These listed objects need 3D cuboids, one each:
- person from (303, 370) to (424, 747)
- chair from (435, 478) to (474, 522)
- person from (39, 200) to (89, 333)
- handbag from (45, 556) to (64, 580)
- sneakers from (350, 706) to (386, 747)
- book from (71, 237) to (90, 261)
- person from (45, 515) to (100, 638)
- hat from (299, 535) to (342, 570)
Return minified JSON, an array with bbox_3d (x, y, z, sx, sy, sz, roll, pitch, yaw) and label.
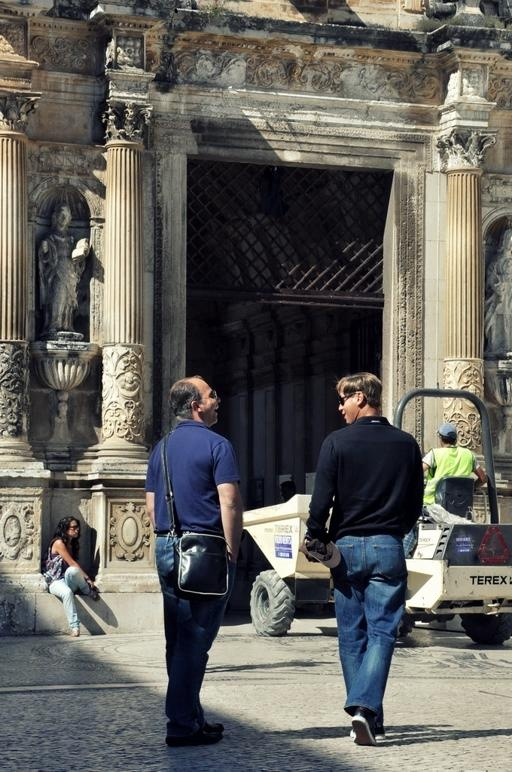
[{"bbox_3d":[0.591,0.974,10.661,0.551,2.096,0.605,0,-1,34],"label":"person"},{"bbox_3d":[1.662,0.943,15.590,0.332,0.359,0.294,1,-1,1],"label":"chair"},{"bbox_3d":[-1.968,-1.189,18.856,0.536,1.405,0.442,1,-1,-18],"label":"person"},{"bbox_3d":[-1.923,1.732,17.508,0.191,0.255,0.178,1,-1,1],"label":"handbag"},{"bbox_3d":[0.616,1.924,10.387,0.103,0.138,0.294,2,-31,18],"label":"sneakers"},{"bbox_3d":[-1.795,-1.400,18.844,0.206,0.081,0.160,-35,37,-18],"label":"book"},{"bbox_3d":[-1.780,1.799,17.598,0.514,1.071,1.074,1,-1,3],"label":"person"},{"bbox_3d":[0.355,0.959,10.668,0.234,0.148,0.107,33,-28,-33],"label":"hat"}]
